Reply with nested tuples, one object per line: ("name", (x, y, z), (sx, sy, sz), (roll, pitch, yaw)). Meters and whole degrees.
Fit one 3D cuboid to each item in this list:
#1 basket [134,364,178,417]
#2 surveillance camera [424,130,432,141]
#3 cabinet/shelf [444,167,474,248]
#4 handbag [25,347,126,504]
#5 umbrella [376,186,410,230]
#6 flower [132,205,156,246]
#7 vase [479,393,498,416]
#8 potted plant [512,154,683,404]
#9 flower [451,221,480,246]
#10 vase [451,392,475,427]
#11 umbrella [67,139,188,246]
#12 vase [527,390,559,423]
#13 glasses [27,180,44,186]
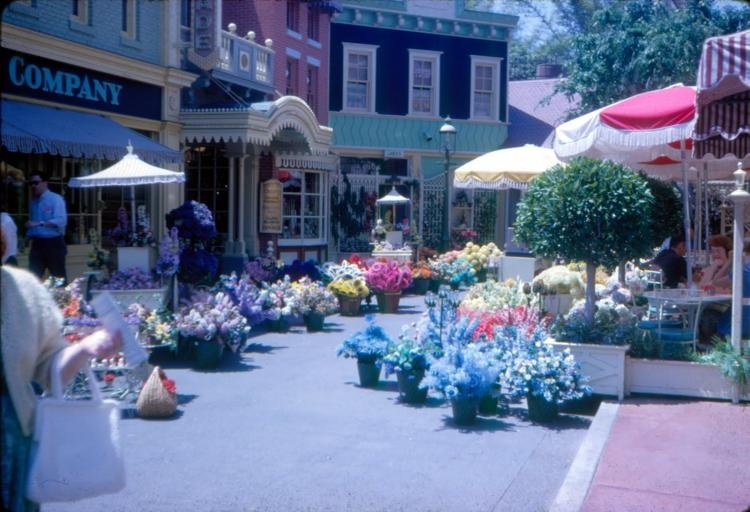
("basket", (-2.635, 1.637, 9.433), (0.538, 0.634, 0.392), (2, -17, -9))
("surveillance camera", (1.773, -3.962, 26.194), (0.221, 0.356, 0.286), (-3, 9, -45))
("cabinet/shelf", (2.736, -1.856, 25.189), (0.766, 0.480, 2.862), (-4, -43, 7))
("handbag", (-2.199, 1.269, 5.714), (0.655, 0.918, 0.292), (-1, 10, 2))
("umbrella", (0.630, -1.338, 21.719), (1.013, 1.345, 1.093), (0, -2, -10))
("flower", (-3.687, -0.494, 12.238), (0.336, 0.645, 0.299), (12, 17, 11))
("vase", (1.395, 1.821, 9.668), (0.235, 0.275, 0.239), (0, 8, 0))
("potted plant", (2.873, 0.182, 10.975), (2.481, 3.588, 2.398), (0, 5, 6))
("flower", (2.970, -0.759, 25.144), (0.974, 0.618, 0.997), (5, -17, -9))
("vase", (1.040, 1.799, 9.242), (0.314, 0.281, 0.299), (0, 2, -33))
("umbrella", (-3.919, -0.812, 12.499), (1.640, 1.904, 1.778), (-1, 6, 10))
("vase", (2.018, 1.771, 9.308), (0.320, 0.290, 0.313), (0, 1, 10))
("glasses", (-5.614, -1.183, 12.820), (0.167, 0.075, 0.190), (-1, -6, 14))
